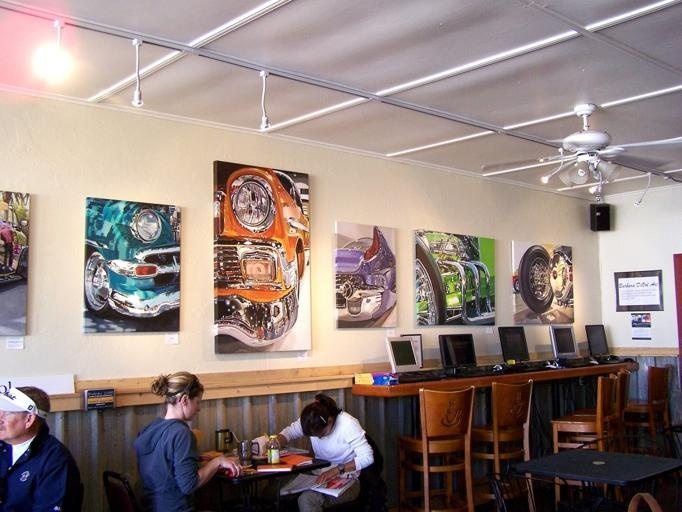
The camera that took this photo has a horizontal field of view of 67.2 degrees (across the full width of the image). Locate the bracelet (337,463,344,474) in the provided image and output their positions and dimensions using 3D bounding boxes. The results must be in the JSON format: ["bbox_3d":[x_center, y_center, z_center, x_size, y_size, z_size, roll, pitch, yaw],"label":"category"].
[{"bbox_3d":[0.004,1.632,3.946,0.045,0.059,0.030,-3,-5,12],"label":"bracelet"}]

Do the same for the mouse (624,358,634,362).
[{"bbox_3d":[3.968,1.424,7.045,0.080,0.026,0.082,-1,-1,17],"label":"mouse"}]

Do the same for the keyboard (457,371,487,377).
[{"bbox_3d":[1.394,1.239,5.410,0.329,0.045,0.245,-2,-5,-1],"label":"keyboard"}]

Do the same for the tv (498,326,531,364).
[{"bbox_3d":[2.129,1.075,6.244,0.035,0.422,0.431,-3,-9,-26],"label":"tv"}]

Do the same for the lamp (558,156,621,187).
[{"bbox_3d":[2.290,-0.773,4.722,0.281,0.147,0.330,4,-1,-6],"label":"lamp"}]

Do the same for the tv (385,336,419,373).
[{"bbox_3d":[0.630,1.025,5.298,0.328,0.314,0.125,8,-16,-42],"label":"tv"}]

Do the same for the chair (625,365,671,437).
[{"bbox_3d":[3.869,1.829,6.517,0.604,0.805,0.615,-2,-9,19],"label":"chair"}]

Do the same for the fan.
[{"bbox_3d":[2.221,-0.945,4.751,0.973,0.369,0.988,-7,-1,13],"label":"fan"}]

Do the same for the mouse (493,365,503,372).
[{"bbox_3d":[1.760,1.248,5.720,0.081,0.035,0.058,2,4,-24],"label":"mouse"}]

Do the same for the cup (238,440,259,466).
[{"bbox_3d":[-0.679,1.434,3.761,0.104,0.167,0.191,0,-16,1],"label":"cup"}]

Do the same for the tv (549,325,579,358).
[{"bbox_3d":[2.936,1.107,6.710,0.023,0.413,0.420,-3,-10,-18],"label":"tv"}]

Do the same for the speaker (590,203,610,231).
[{"bbox_3d":[3.786,-0.581,7.467,0.274,0.399,0.224,-4,-6,25],"label":"speaker"}]

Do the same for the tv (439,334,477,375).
[{"bbox_3d":[1.295,1.070,5.700,0.529,0.399,0.112,4,-13,-35],"label":"tv"}]

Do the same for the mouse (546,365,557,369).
[{"bbox_3d":[2.526,1.319,6.118,0.075,0.024,0.046,0,-2,-12],"label":"mouse"}]

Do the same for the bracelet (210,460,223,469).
[{"bbox_3d":[-0.802,1.334,3.307,0.038,0.044,0.051,2,1,23],"label":"bracelet"}]
